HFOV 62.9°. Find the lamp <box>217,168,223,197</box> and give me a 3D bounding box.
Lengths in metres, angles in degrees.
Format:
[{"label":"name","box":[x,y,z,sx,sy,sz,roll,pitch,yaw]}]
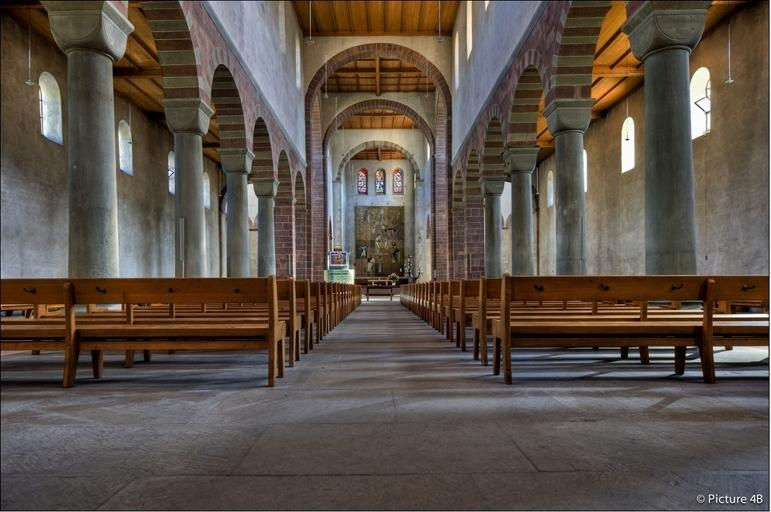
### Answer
[{"label":"lamp","box":[-7.383,-3.355,28.057,0.311,1.252,1.313,-3,11,-14]}]
